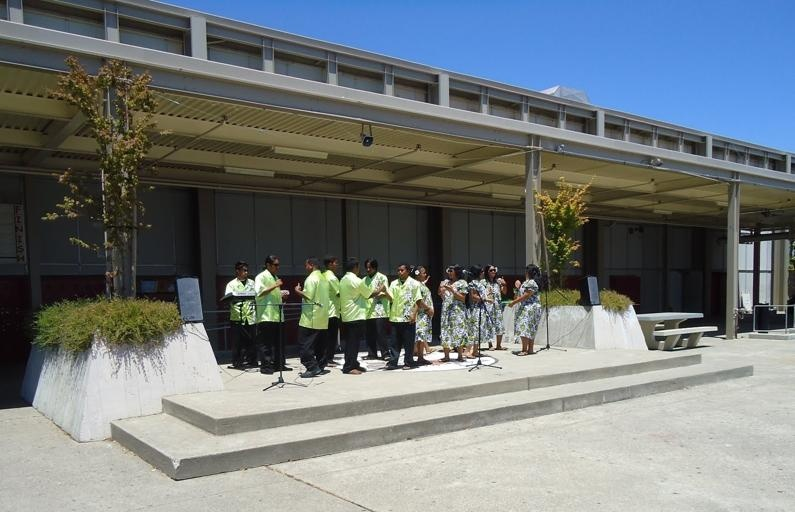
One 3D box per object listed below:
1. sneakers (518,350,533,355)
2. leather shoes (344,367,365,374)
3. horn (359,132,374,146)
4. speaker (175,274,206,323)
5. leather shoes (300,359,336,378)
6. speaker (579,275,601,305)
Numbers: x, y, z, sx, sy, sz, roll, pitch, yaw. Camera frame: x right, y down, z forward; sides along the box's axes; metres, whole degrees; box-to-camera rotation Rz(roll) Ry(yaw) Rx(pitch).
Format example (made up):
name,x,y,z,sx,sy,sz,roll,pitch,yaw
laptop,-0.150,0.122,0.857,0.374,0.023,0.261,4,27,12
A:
name,x,y,z,sx,sy,sz,roll,pitch,yaw
sneakers,3.051,2.289,14.399,0.128,0.158,0.371,4,-10,-35
leather shoes,-0.885,2.373,12.504,0.477,0.203,0.147,-2,-2,-8
horn,-0.828,-3.049,15.524,0.311,0.145,0.391,-1,1,-24
speaker,-3.881,0.788,11.178,0.407,0.784,0.521,-5,15,-22
leather shoes,-1.637,2.351,12.503,0.222,0.282,0.673,-4,-8,39
speaker,5.061,0.895,15.862,0.346,1.049,0.599,7,-12,-26
